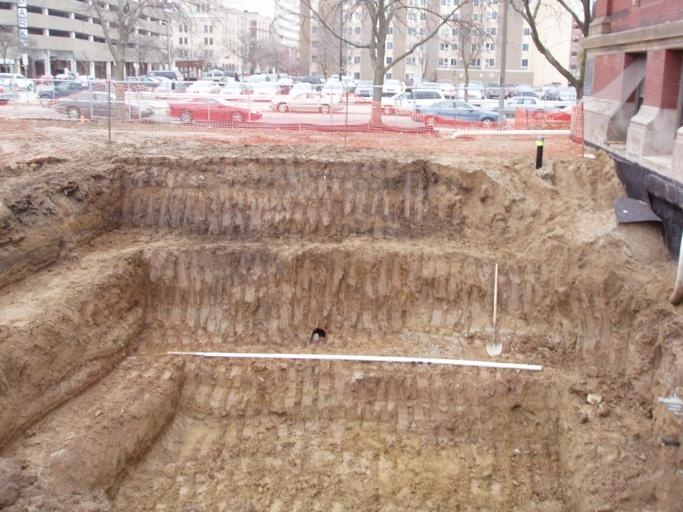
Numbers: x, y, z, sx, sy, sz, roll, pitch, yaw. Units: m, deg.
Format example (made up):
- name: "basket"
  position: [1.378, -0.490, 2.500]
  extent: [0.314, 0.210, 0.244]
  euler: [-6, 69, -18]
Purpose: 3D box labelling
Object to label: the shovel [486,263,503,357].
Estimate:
- name: "shovel"
  position: [3.440, 1.208, 12.364]
  extent: [0.377, 2.073, 0.131]
  euler: [-1, 12, -16]
